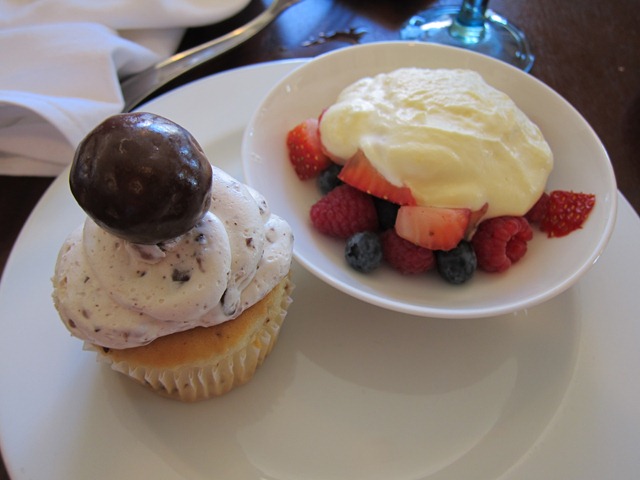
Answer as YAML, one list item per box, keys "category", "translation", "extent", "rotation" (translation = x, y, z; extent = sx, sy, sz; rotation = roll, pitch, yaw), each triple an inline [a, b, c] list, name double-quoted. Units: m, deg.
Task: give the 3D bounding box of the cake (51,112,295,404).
- category: "cake"
  translation: [-0.352, 0.084, 1.478]
  extent: [0.449, 0.557, 0.433]
  rotation: [-31, 57, -30]
